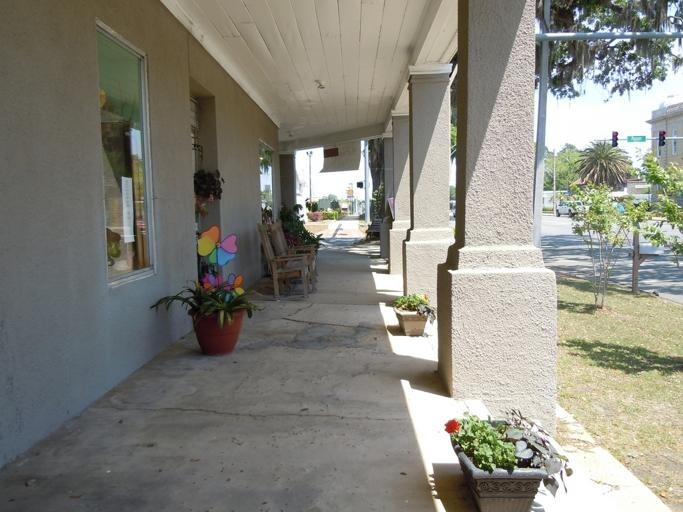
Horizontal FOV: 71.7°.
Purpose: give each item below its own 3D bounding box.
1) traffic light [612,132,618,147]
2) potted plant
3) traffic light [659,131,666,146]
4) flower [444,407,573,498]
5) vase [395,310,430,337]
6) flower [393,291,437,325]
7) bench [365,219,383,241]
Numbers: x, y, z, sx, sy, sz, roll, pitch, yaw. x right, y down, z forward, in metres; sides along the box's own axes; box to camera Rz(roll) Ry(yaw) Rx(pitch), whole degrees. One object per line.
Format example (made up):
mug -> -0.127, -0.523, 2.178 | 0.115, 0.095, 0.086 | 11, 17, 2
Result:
traffic light -> 9.361, -4.035, 16.230 | 0.171, 0.462, 0.757 | 4, 9, 30
potted plant -> -1.212, 0.502, 4.489 | 0.725, 0.544, 0.765 | 1, -8, -11
traffic light -> 10.938, -4.039, 16.168 | 0.179, 0.544, 1.055 | 5, 10, 37
flower -> 0.779, 0.961, 2.357 | 0.419, 0.220, 0.611 | -5, 5, 3
vase -> 0.715, 0.686, 4.822 | 0.203, 0.190, 0.308 | 1, 1, -3
flower -> 0.823, 0.597, 4.959 | 0.333, 0.200, 0.368 | -1, 9, -44
bench -> 1.150, -0.939, 17.036 | 0.647, 0.989, 0.689 | 2, 3, 21
